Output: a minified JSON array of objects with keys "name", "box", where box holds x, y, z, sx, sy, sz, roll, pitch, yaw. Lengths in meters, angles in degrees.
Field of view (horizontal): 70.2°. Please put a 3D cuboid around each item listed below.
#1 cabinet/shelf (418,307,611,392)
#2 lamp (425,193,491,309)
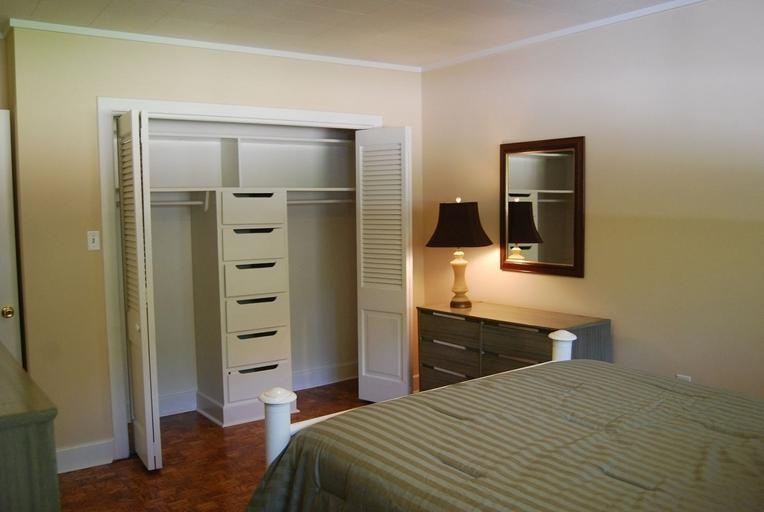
[{"name":"cabinet/shelf","box":[0.974,0.876,4.350,0.550,0.811,1.384,2,0,-39]},{"name":"lamp","box":[0.706,-0.033,4.630,0.499,0.878,0.565,6,17,26]}]
